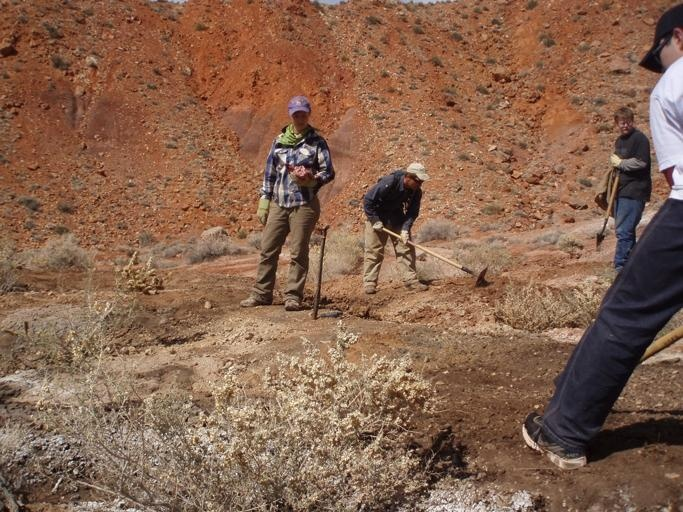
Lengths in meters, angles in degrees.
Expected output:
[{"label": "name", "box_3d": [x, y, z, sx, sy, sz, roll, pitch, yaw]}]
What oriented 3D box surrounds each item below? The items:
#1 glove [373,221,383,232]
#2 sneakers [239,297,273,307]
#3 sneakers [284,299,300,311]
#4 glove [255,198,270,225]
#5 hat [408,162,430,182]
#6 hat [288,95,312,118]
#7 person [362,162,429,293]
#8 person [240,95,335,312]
[{"label": "glove", "box_3d": [0.598, -0.494, 12.298, 0.148, 0.067, 0.114, 13, -2, 33]}, {"label": "sneakers", "box_3d": [-1.339, 0.729, 11.467, 0.483, 0.229, 0.177, 6, -3, -18]}, {"label": "sneakers", "box_3d": [-0.754, 0.739, 11.265, 0.246, 0.179, 0.181, -8, 11, -10]}, {"label": "glove", "box_3d": [-1.239, -0.696, 11.508, 0.242, 0.350, 0.137, 1, -16, 30]}, {"label": "hat", "box_3d": [1.225, -1.345, 11.778, 0.382, 0.204, 0.263, 26, 13, 22]}, {"label": "hat", "box_3d": [-0.639, -2.255, 11.102, 0.252, 0.211, 0.375, -1, 0, -1]}, {"label": "person", "box_3d": [0.844, -0.446, 12.373, 1.130, 2.165, 0.906, -5, 11, 0]}, {"label": "person", "box_3d": [-0.801, -0.777, 11.316, 1.438, 3.227, 0.826, -7, 12, -9]}]
